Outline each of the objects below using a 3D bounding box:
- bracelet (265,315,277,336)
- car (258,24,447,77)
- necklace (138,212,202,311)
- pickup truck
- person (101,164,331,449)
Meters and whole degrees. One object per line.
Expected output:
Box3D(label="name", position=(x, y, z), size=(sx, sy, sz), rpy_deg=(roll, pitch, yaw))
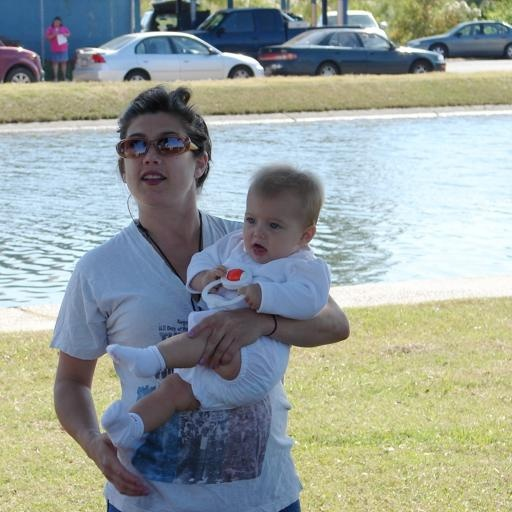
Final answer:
Box3D(label="bracelet", position=(0.107, 0.442, 8.228), size=(0.061, 0.126, 0.053), rpy_deg=(0, 14, -2))
Box3D(label="car", position=(1.972, -4.353, 28.050), size=(3.201, 0.986, 1.465), rpy_deg=(-5, 12, -17))
Box3D(label="necklace", position=(-0.572, 0.051, 8.336), size=(0.027, 0.153, 0.655), rpy_deg=(-6, -40, 32))
Box3D(label="pickup truck", position=(-0.151, -5.113, 29.463), size=(2.387, 1.172, 1.336), rpy_deg=(-3, 8, -23))
Box3D(label="person", position=(-0.258, 0.329, 8.279), size=(1.163, 1.496, 2.055), rpy_deg=(10, 25, 33))
